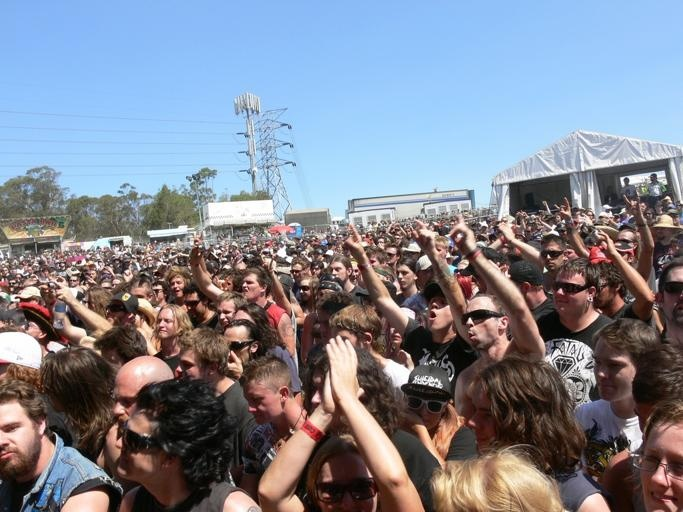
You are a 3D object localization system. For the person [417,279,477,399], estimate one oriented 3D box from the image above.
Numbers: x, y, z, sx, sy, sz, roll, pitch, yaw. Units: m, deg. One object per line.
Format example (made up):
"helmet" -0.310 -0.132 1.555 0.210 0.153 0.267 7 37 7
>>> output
"person" 0.862 0.702 3.750 0.243 0.844 0.516 30 -45 -22

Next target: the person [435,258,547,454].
"person" 0.990 0.695 3.133 0.485 1.420 0.693 12 -24 -21

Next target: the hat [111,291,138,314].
"hat" -2.656 0.578 5.610 0.314 0.264 0.304 -9 3 -28

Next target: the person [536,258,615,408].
"person" 1.776 0.584 3.446 0.281 0.989 0.744 20 -24 -16

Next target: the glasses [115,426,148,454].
"glasses" -1.005 0.908 2.237 0.155 0.067 0.167 6 -16 47

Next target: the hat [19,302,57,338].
"hat" -3.492 0.766 5.318 0.301 0.519 0.352 -9 3 -34

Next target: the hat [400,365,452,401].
"hat" 0.591 0.852 3.150 0.302 0.246 0.480 13 -21 7

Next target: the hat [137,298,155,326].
"hat" -2.541 0.731 5.937 0.065 0.249 0.244 -35 -5 -10

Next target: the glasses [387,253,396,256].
"glasses" 0.963 -0.053 8.863 0.182 0.084 0.043 -9 4 -30

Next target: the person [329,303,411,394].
"person" 0.270 0.804 3.926 0.614 0.858 0.614 -8 6 -3

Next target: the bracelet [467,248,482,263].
"bracelet" 0.923 -0.014 3.198 0.076 0.060 0.079 -30 -29 15

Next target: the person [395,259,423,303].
"person" 0.980 0.388 6.683 0.411 0.779 0.428 -4 -11 5

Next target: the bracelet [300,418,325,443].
"bracelet" -0.147 0.885 2.375 0.053 0.106 0.106 -43 -2 -16

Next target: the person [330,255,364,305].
"person" 0.064 0.412 7.371 0.509 0.913 0.419 -12 -2 32

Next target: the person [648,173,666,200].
"person" 12.551 -2.815 18.210 0.563 1.028 2.517 -5 4 36

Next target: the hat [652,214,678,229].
"hat" 5.553 -0.585 7.864 0.291 0.158 0.311 4 2 21

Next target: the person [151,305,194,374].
"person" -1.829 0.908 4.987 0.415 0.795 0.412 6 -9 -19

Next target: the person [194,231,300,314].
"person" -1.365 0.229 6.196 1.223 1.027 0.726 -8 3 -5

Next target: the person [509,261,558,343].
"person" 1.986 0.312 4.742 0.450 0.694 0.985 -9 -1 19

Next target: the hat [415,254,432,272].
"hat" 1.053 0.093 5.915 0.199 0.186 0.305 -4 -9 0

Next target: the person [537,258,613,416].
"person" 1.749 0.604 3.397 0.281 0.976 0.731 20 -24 -14
